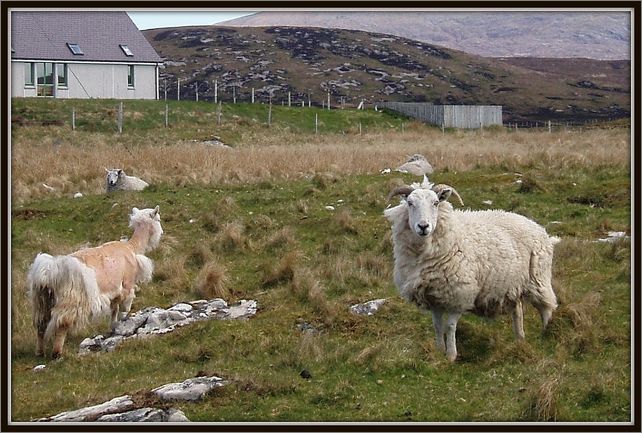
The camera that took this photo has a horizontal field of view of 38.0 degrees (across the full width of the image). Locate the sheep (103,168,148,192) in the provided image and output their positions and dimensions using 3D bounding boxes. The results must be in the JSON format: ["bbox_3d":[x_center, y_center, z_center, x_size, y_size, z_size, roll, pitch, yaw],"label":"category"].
[{"bbox_3d":[-9.027,-1.725,43.543,2.001,1.476,0.964,0,0,-41],"label":"sheep"}]

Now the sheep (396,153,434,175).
[{"bbox_3d":[4.779,-2.438,44.767,1.149,0.728,1.610,2,7,31],"label":"sheep"}]
